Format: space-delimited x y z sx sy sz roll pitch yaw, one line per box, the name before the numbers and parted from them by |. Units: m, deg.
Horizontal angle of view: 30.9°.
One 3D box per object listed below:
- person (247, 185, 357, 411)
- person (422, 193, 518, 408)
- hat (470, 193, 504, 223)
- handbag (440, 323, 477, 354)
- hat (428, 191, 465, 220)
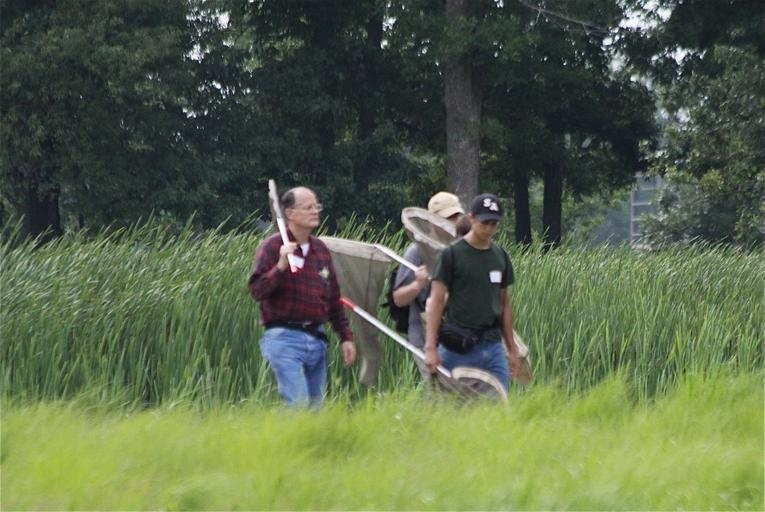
person | -1.125 0.564 18.587 1.323 2.912 0.509 3 -4 -7
person | 1.230 1.103 18.714 1.170 3.956 1.025 -1 19 -2
hat | 1.357 -0.626 18.397 0.429 0.386 0.168 3 -4 4
handbag | 0.985 1.109 18.485 0.430 0.377 0.194 23 7 1
hat | 0.829 -0.678 19.088 0.305 0.262 0.422 -7 2 -32
